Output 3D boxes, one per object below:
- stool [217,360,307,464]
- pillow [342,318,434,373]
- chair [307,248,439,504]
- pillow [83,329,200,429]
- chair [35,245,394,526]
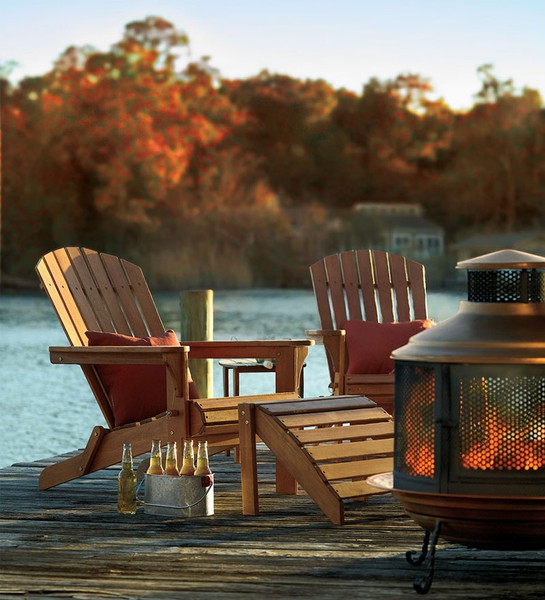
[{"bbox_3d":[-0.150,0.539,7.658,0.537,0.508,0.519,0,-1,-7],"label":"stool"},{"bbox_3d":[0.583,0.242,7.258,0.463,0.259,0.161,-1,18,32],"label":"pillow"},{"bbox_3d":[0.465,0.180,7.539,0.633,0.649,0.745,-3,16,-15],"label":"chair"},{"bbox_3d":[-0.550,0.328,6.253,0.600,0.463,0.295,-7,8,-35],"label":"pillow"},{"bbox_3d":[-0.160,0.262,6.404,1.679,0.990,1.005,1,2,31],"label":"chair"}]
